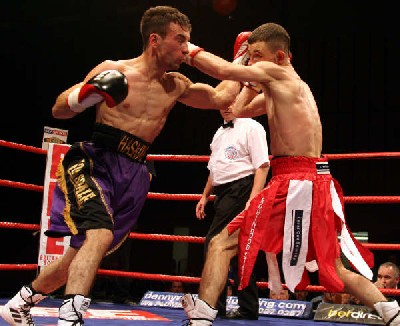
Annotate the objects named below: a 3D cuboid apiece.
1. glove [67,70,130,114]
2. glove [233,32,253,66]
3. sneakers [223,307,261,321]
[{"bbox_3d":[-0.541,-0.329,2.277,0.212,0.125,0.275,-1,-6,21],"label":"glove"},{"bbox_3d":[0.275,-0.765,2.912,0.093,0.249,0.195,8,9,-15],"label":"glove"},{"bbox_3d":[0.277,1.031,2.980,0.255,0.101,0.083,5,-21,3],"label":"sneakers"}]
